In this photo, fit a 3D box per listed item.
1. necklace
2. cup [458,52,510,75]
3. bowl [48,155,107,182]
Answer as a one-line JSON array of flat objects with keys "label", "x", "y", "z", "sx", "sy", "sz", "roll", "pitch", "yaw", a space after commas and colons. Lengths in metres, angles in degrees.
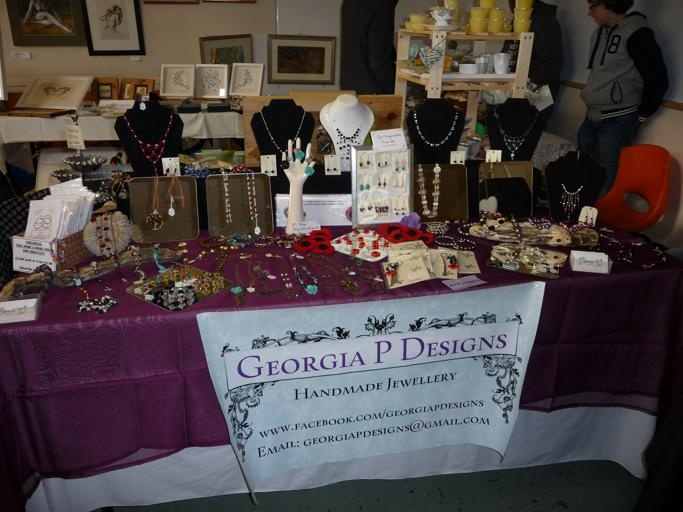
[{"label": "necklace", "x": 0.149, "y": -0.245, "z": 2.597, "sx": 2.115, "sy": 0.783, "sz": 1.300, "roll": -1, "pitch": 21, "yaw": -2}, {"label": "cup", "x": 1.012, "y": -1.323, "z": 3.470, "sx": 0.322, "sy": 0.121, "sz": 0.195, "roll": 2, "pitch": 24, "yaw": 2}, {"label": "bowl", "x": -1.603, "y": -0.531, "z": 3.007, "sx": 0.252, "sy": 0.076, "sz": 0.249, "roll": -6, "pitch": 25, "yaw": 3}]
